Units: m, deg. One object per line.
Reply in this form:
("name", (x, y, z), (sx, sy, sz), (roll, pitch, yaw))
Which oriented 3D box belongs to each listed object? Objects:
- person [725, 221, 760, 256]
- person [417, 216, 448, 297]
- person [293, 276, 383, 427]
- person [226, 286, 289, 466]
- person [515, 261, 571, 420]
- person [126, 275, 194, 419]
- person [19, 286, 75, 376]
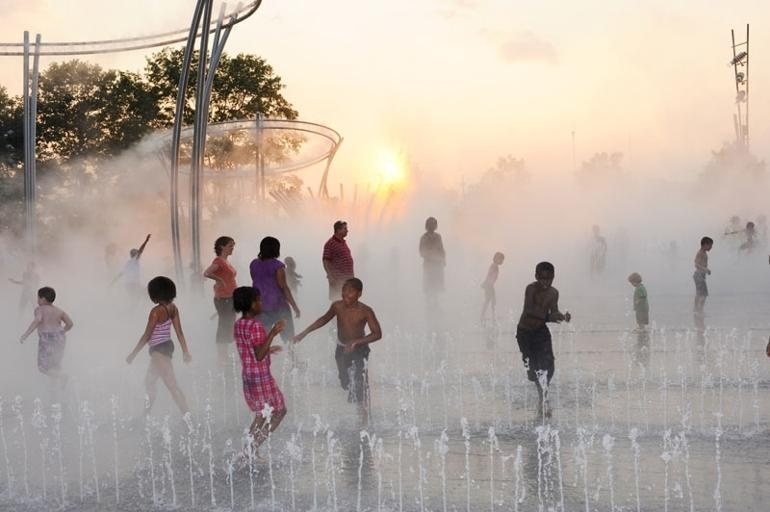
("person", (12.767, -0.451, 47.254), (0.854, 1.148, 1.174), (15, -18, -40))
("person", (1.215, 0.056, 33.424), (0.593, 1.951, 1.281), (-1, -8, 1))
("person", (-0.704, 1.932, 26.514), (1.248, 2.775, 0.626), (-1, -8, -3))
("person", (-2.409, 2.221, 25.619), (0.926, 3.136, 0.391), (0, -8, -5))
("person", (3.224, 1.712, 27.574), (0.951, 3.216, 1.364), (-2, -8, 5))
("person", (-4.445, 1.837, 26.631), (1.093, 2.672, 0.814), (0, -8, -11))
("person", (-7.094, 1.623, 28.286), (0.923, 1.888, 0.881), (1, -8, -13))
